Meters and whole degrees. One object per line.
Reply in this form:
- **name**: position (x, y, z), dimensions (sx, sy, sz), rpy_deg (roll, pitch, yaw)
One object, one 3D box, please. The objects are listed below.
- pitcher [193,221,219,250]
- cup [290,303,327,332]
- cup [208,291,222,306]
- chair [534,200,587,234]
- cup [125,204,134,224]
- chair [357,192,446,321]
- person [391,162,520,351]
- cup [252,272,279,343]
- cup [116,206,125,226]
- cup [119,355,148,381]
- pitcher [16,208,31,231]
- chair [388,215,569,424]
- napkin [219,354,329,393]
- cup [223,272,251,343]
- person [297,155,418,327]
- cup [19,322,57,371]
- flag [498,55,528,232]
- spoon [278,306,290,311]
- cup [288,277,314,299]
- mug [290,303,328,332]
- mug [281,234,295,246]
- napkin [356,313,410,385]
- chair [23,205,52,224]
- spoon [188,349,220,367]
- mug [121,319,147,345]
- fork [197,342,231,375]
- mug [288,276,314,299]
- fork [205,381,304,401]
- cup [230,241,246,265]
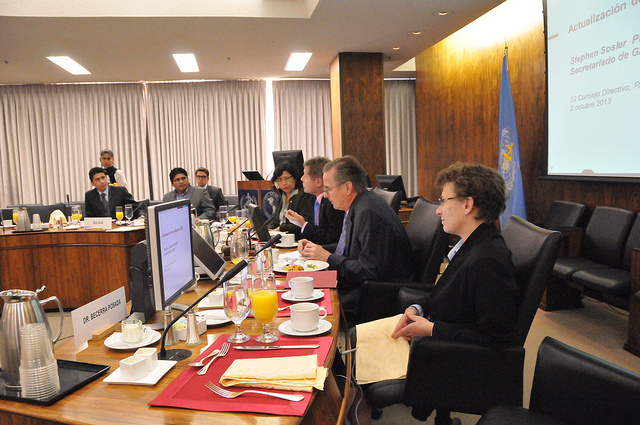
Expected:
- **pitcher**: position (-0.836, 0.160, 3.354), dimensions (0.249, 0.254, 0.146), rpy_deg (0, 4, -21)
- **cup**: position (-0.068, 0.535, 2.262), dimensions (0.215, 0.141, 0.166), rpy_deg (-3, -8, -9)
- **cup**: position (-0.586, 0.484, 2.497), dimensions (0.064, 0.066, 0.063), rpy_deg (0, 2, 0)
- **chair**: position (2.484, 0.044, 4.586), dimensions (0.353, 0.459, 0.325), rpy_deg (1, 6, -14)
- **cup**: position (-2.250, 0.028, 5.274), dimensions (0.081, 0.211, 0.174), rpy_deg (-9, 7, -22)
- **chair**: position (0.649, 0.286, 3.575), dimensions (0.733, 1.255, 0.859), rpy_deg (1, 3, -1)
- **person**: position (0.853, 0.281, 3.134), dimensions (0.854, 1.634, 0.918), rpy_deg (3, -5, 10)
- **cup**: position (-0.275, 0.461, 2.211), dimensions (0.126, 0.307, 0.211), rpy_deg (-7, 7, -9)
- **cup**: position (-2.339, 0.042, 5.219), dimensions (0.088, 0.214, 0.237), rpy_deg (-9, 7, -25)
- **cup**: position (-0.801, 0.674, 1.935), dimensions (0.099, 0.088, 0.066), rpy_deg (-12, 9, -43)
- **pitcher**: position (-3.254, 0.078, 4.903), dimensions (0.123, 0.254, 0.147), rpy_deg (-11, 9, -36)
- **chair**: position (0.921, 0.631, 2.968), dimensions (0.996, 1.541, 1.058), rpy_deg (0, -1, -5)
- **napkin**: position (-0.187, 0.679, 1.889), dimensions (0.276, 0.049, 0.211), rpy_deg (3, 4, 5)
- **cup**: position (-0.403, 0.453, 2.174), dimensions (0.151, 0.333, 0.150), rpy_deg (-5, 1, 0)
- **person**: position (0.270, 0.341, 3.390), dimensions (0.816, 1.458, 0.699), rpy_deg (5, 17, 21)
- **cup**: position (-1.182, 0.553, 1.851), dimensions (0.129, 0.194, 0.082), rpy_deg (-9, 8, -26)
- **flag**: position (2.220, -0.866, 5.301), dimensions (0.244, 2.006, 0.528), rpy_deg (-3, 8, 17)
- **spoon**: position (-0.196, 0.523, 2.433), dimensions (0.080, 0.012, 0.012), rpy_deg (-17, -11, 19)
- **cup**: position (-0.105, 0.424, 2.496), dimensions (0.122, 0.086, 0.096), rpy_deg (-1, 2, 17)
- **mug**: position (-0.057, 0.531, 2.242), dimensions (0.184, 0.122, 0.142), rpy_deg (-1, 4, 2)
- **mug**: position (-0.262, 0.216, 3.665), dimensions (0.076, 0.074, 0.098), rpy_deg (1, -5, -31)
- **napkin**: position (0.350, 0.780, 2.488), dimensions (0.287, 0.302, 0.337), rpy_deg (-5, 7, 10)
- **chair**: position (-3.688, 0.034, 5.863), dimensions (0.255, 0.175, 0.139), rpy_deg (0, -1, -4)
- **spoon**: position (-0.519, 0.661, 2.007), dimensions (0.046, 0.026, 0.173), rpy_deg (0, 8, 20)
- **mug**: position (-0.884, 0.568, 2.115), dimensions (0.108, 0.107, 0.110), rpy_deg (0, -3, 1)
- **fork**: position (-0.468, 0.660, 2.029), dimensions (0.034, 0.038, 0.252), rpy_deg (-3, 27, 23)
- **mug**: position (-0.101, 0.419, 2.495), dimensions (0.124, 0.086, 0.096), rpy_deg (-1, 2, 30)
- **fork**: position (-0.253, 0.738, 1.840), dimensions (0.276, 0.033, 0.037), rpy_deg (6, 7, 2)
- **cup**: position (-0.514, 0.248, 2.819), dimensions (0.095, 0.131, 0.099), rpy_deg (-6, 7, 1)
